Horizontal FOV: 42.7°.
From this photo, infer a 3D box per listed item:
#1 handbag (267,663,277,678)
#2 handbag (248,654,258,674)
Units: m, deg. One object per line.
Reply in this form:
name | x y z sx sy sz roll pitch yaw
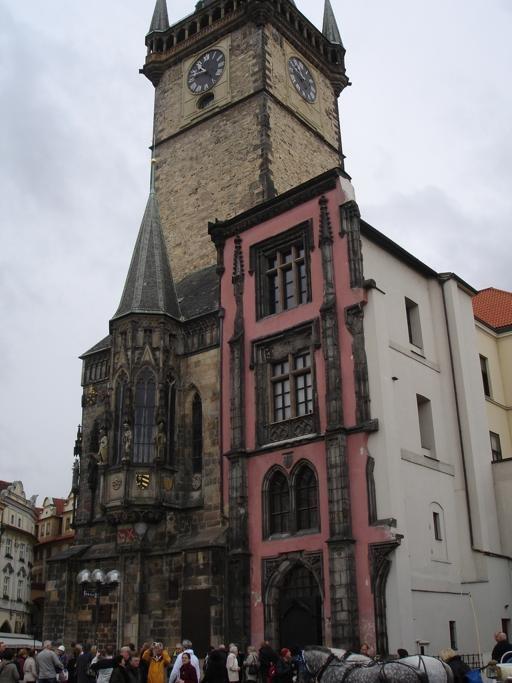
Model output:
handbag | 0.279 5.440 10.817 0.064 0.193 0.132 4 -22 -18
handbag | -0.037 5.770 11.645 0.152 0.360 0.343 -2 -17 -1
